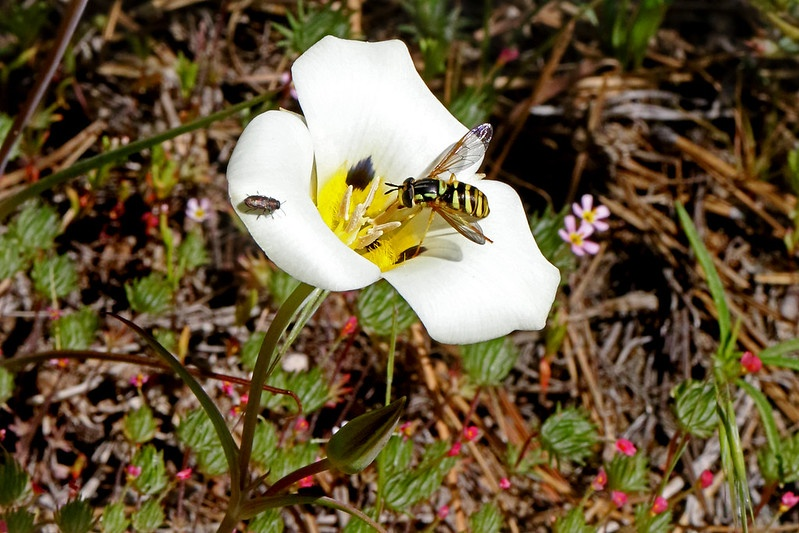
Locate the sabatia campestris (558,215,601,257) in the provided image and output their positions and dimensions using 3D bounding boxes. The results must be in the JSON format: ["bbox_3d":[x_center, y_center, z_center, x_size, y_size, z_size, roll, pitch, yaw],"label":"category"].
[{"bbox_3d":[0.893,-0.164,3.855,0.223,0.230,0.066,7,78,44],"label":"sabatia campestris"}]
